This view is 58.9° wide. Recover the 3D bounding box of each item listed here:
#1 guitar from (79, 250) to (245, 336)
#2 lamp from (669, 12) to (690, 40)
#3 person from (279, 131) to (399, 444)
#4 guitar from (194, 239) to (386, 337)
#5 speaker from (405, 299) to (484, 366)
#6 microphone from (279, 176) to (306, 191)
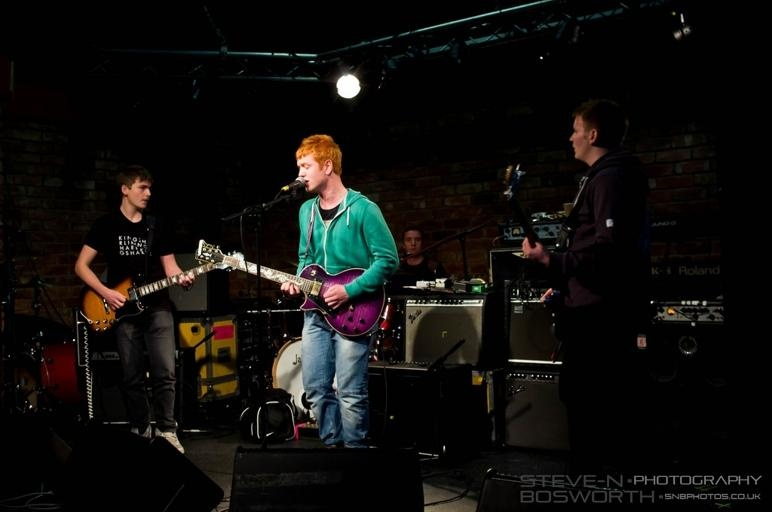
[{"bbox_3d":[-1.935,0.271,5.738,1.432,0.421,0.168,-20,8,10],"label":"guitar"},{"bbox_3d":[2.436,-1.923,5.682,0.081,0.236,0.147,1,-13,-21],"label":"lamp"},{"bbox_3d":[-0.348,0.227,5.073,0.837,2.328,0.544,-2,-12,-7],"label":"person"},{"bbox_3d":[-0.850,0.317,5.831,1.211,0.393,0.157,11,-11,19],"label":"guitar"},{"bbox_3d":[0.435,0.658,6.134,0.807,0.622,0.417,2,-4,-21],"label":"speaker"},{"bbox_3d":[-0.655,-0.520,5.069,0.256,0.069,0.081,-23,28,-36],"label":"microphone"}]
